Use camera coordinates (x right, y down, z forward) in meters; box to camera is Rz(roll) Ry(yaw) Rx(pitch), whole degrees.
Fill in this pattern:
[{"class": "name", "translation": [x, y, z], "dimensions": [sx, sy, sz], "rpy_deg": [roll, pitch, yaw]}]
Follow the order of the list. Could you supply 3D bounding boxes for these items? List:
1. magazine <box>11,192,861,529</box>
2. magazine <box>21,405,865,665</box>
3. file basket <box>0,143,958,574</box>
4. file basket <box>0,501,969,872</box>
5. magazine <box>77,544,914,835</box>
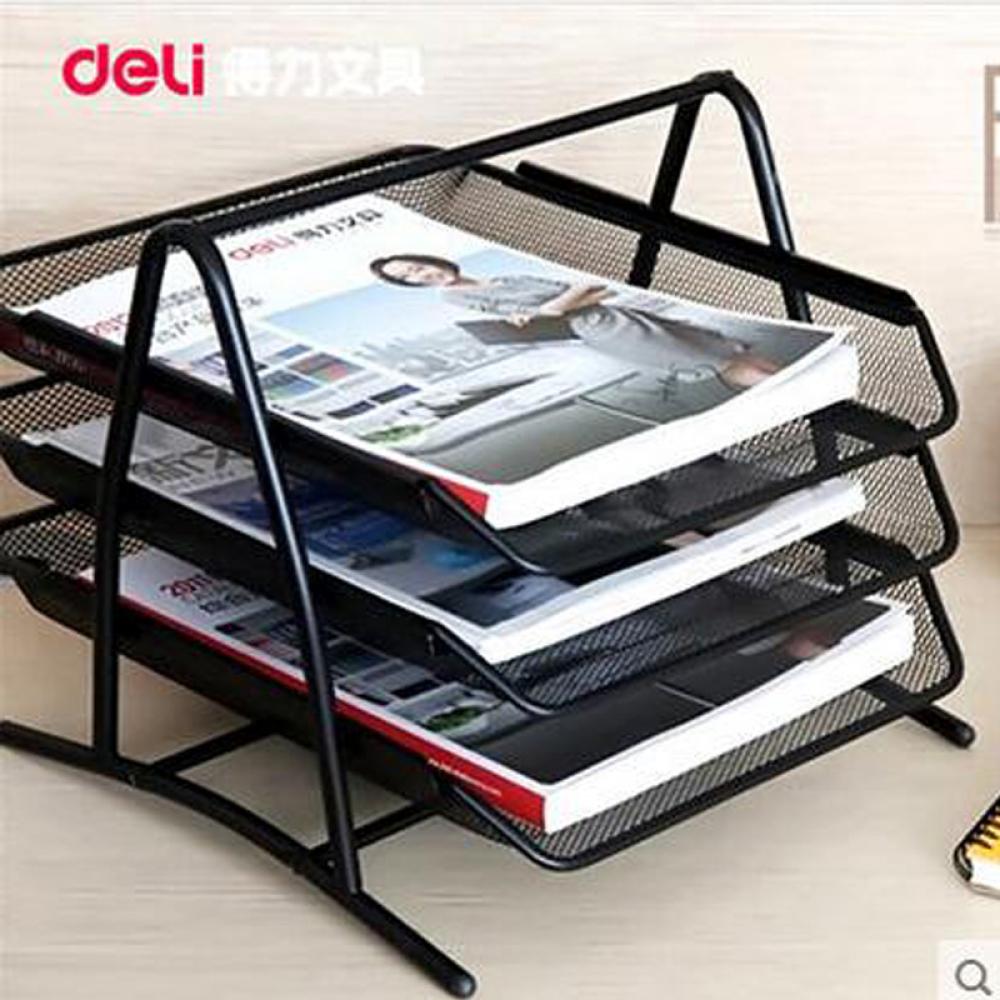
[{"class": "magazine", "translation": [-0.029, -0.073, 0.492], "dimensions": [0.281, 0.026, 0.203], "rpy_deg": [30, 47, 29]}, {"class": "magazine", "translation": [-0.048, 0.015, 0.455], "dimensions": [0.187, 0.017, 0.204], "rpy_deg": [17, 23, 41]}, {"class": "file basket", "translation": [-0.048, -0.082, 0.523], "dimensions": [0.307, 0.109, 0.384], "rpy_deg": [-22, 35, -37]}, {"class": "file basket", "translation": [-0.053, 0.041, 0.493], "dimensions": [0.274, 0.051, 0.205], "rpy_deg": [19, 28, 40]}, {"class": "magazine", "translation": [-0.023, 0.058, 0.494], "dimensions": [0.165, 0.019, 0.218], "rpy_deg": [-11, 17, -41]}]
